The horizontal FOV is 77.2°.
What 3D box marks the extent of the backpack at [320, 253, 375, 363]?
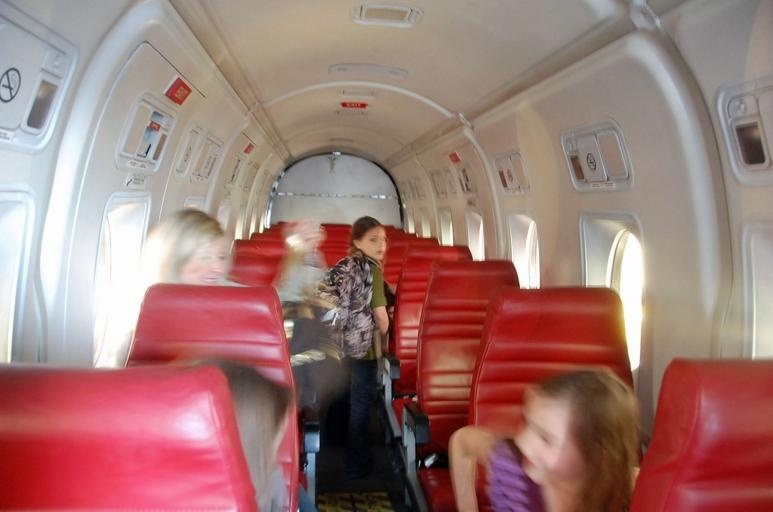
[{"bbox_3d":[-0.266,0.428,4.014,0.286,0.739,0.566,-7,10,-3],"label":"backpack"}]
